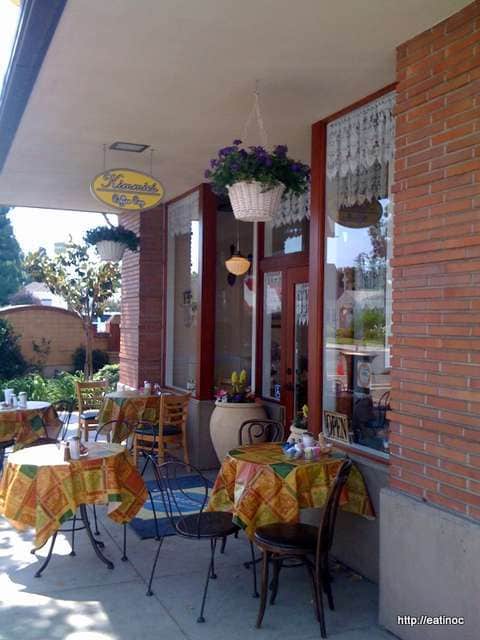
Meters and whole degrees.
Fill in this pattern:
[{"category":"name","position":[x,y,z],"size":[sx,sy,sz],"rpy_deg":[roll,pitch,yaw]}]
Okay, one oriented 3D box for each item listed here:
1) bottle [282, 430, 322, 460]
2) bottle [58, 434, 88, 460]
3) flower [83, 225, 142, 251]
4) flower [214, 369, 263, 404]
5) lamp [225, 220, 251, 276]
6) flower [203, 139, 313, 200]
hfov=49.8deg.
[{"category":"bottle","position":[0.438,0.866,3.590],"size":[0.245,0.134,0.342],"rpy_deg":[0,-2,3]},{"category":"bottle","position":[-1.133,0.837,3.415],"size":[0.205,0.196,0.114],"rpy_deg":[-1,0,4]},{"category":"flower","position":[-1.828,-1.204,7.428],"size":[0.806,0.294,0.294],"rpy_deg":[5,-6,-35]},{"category":"flower","position":[-0.028,0.777,6.065],"size":[0.408,0.524,0.443],"rpy_deg":[1,-6,-2]},{"category":"lamp","position":[-0.012,-0.959,6.541],"size":[0.332,0.814,0.804],"rpy_deg":[2,-5,-2]},{"category":"flower","position":[0.118,-1.056,3.642],"size":[0.710,0.351,0.756],"rpy_deg":[-15,19,-32]}]
